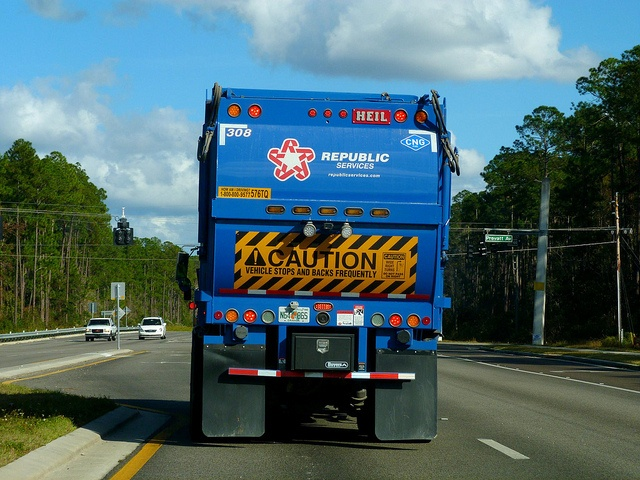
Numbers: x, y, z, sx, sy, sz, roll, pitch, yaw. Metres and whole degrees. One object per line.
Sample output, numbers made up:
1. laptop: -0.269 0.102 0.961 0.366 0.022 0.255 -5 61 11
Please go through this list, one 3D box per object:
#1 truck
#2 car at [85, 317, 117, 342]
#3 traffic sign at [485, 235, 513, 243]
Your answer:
1. truck: -0.031 0.445 16.319 3.695 4.409 6.280 0 -2 -2
2. car: -14.054 5.703 52.384 1.543 1.347 3.105 0 -7 -2
3. traffic sign: 9.081 -0.087 40.927 1.411 0.342 1.001 -3 -3 7
